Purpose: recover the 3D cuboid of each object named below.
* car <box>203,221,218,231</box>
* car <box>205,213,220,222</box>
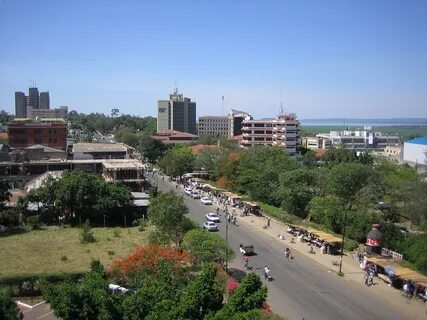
[{"bbox_3d":[-0.649,10.702,70.373,1.219,1.023,2.088,-3,19,-23],"label":"car"},{"bbox_3d":[-0.324,9.917,75.806,1.043,0.790,2.444,-4,4,-19],"label":"car"}]
